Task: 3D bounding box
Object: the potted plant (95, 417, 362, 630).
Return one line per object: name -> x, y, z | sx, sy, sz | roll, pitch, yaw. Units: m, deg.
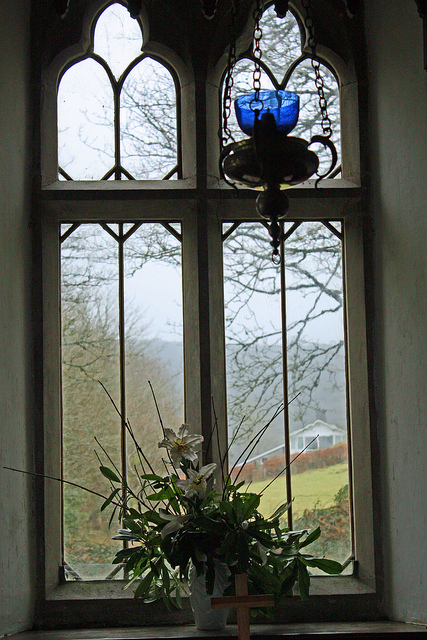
potted plant -> -0.004, 0.545, 2.804 | 0.502, 0.357, 0.351 | -4, 8, 2
